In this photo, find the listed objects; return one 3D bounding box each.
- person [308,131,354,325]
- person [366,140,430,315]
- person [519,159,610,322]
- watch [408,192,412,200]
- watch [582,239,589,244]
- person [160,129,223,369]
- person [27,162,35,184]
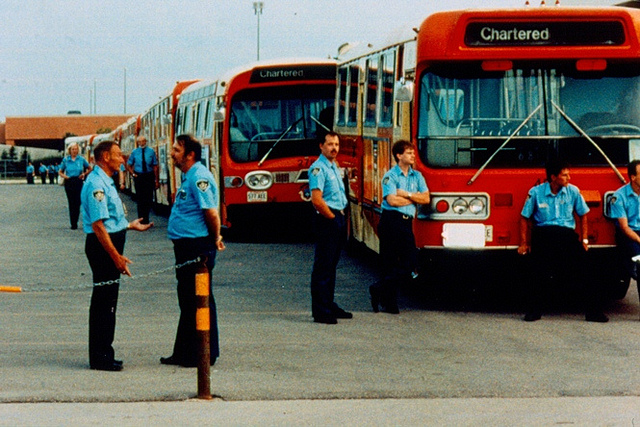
[{"bbox_3d":[0.095,0.180,11.919,0.438,2.459,0.509,3,8,30],"label":"person"},{"bbox_3d":[1.053,0.135,12.710,0.832,2.368,1.567,0,7,2],"label":"person"},{"bbox_3d":[3.062,0.327,11.987,0.893,2.113,0.492,0,7,7],"label":"person"},{"bbox_3d":[1.163,-0.243,11.927,0.062,0.050,0.090,3,-1,4],"label":"watch"},{"bbox_3d":[3.477,0.356,12.000,0.065,0.066,0.015,0,4,-7],"label":"watch"},{"bbox_3d":[-1.426,0.402,10.177,0.669,2.567,0.641,-2,7,-11],"label":"person"},{"bbox_3d":[-20.366,-2.780,64.038,0.370,1.438,2.379,-3,8,-19],"label":"person"}]
